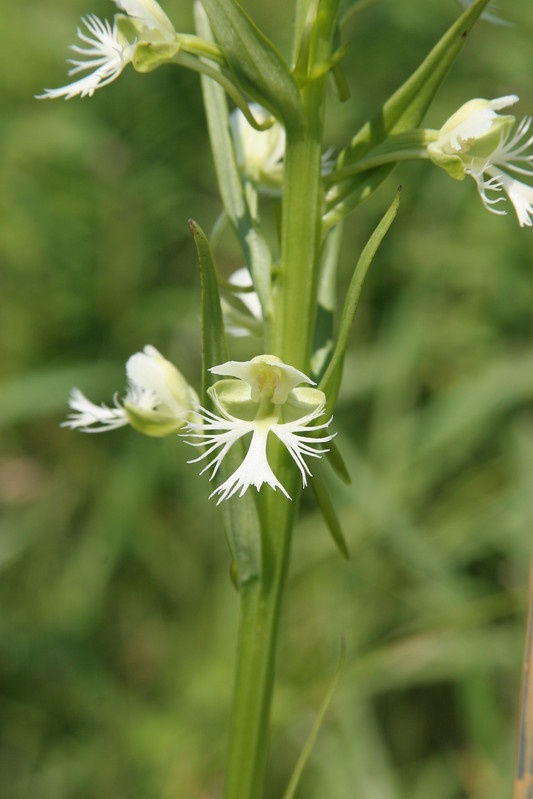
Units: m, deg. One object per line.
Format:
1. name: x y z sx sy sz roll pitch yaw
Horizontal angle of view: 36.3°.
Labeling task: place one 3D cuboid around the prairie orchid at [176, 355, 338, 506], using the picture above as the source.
1. prairie orchid: -0.005 0.026 0.653 0.111 0.118 0.045 4 -3 1
